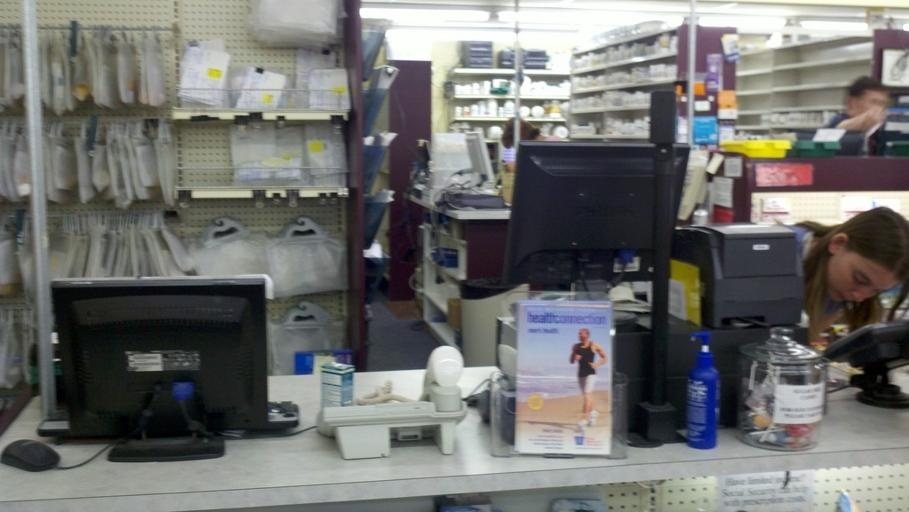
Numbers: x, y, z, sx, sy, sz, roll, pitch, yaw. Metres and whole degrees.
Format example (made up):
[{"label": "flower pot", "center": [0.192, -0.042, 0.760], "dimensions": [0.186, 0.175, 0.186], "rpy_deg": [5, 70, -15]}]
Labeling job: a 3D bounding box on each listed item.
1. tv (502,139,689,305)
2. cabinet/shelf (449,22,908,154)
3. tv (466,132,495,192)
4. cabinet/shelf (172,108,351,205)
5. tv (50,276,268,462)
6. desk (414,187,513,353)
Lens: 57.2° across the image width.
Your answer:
[{"label": "tv", "center": [0.677, -0.154, 3.969], "dimensions": [1.074, 0.693, 0.292], "rpy_deg": [2, 17, -6]}, {"label": "cabinet/shelf", "center": [2.468, -2.233, 9.693], "dimensions": [3.822, 0.924, 2.384], "rpy_deg": [-1, 2, -27]}, {"label": "tv", "center": [0.250, -0.879, 7.808], "dimensions": [0.258, 0.520, 0.403], "rpy_deg": [-2, 9, 3]}, {"label": "cabinet/shelf", "center": [-1.359, -0.720, 5.837], "dimensions": [1.378, 0.503, 0.719], "rpy_deg": [0, 8, -4]}, {"label": "tv", "center": [-1.330, 0.502, 3.740], "dimensions": [1.043, 0.619, 0.439], "rpy_deg": [1, 23, -4]}, {"label": "desk", "center": [0.092, 0.111, 6.937], "dimensions": [0.855, 1.326, 1.722], "rpy_deg": [1, 6, -5]}]
